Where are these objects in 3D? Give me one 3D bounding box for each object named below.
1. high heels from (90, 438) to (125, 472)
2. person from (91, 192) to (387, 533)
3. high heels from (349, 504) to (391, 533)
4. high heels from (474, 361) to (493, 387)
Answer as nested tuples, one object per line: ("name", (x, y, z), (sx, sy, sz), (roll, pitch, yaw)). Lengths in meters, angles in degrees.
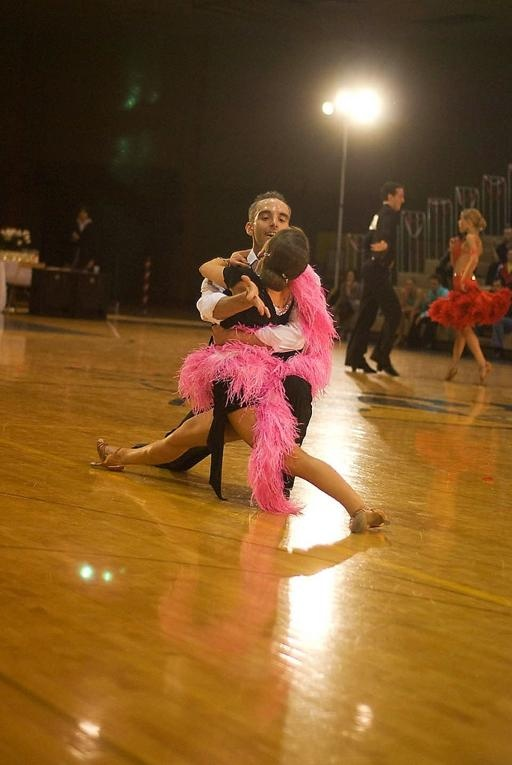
("high heels", (-0.532, 0.244, 2.046), (0.063, 0.103, 0.188), (5, 13, -34))
("person", (-0.269, -0.023, 1.708), (1.038, 0.795, 0.547), (2, 4, 31))
("high heels", (0.300, 0.364, 1.559), (0.095, 0.072, 0.056), (-7, 40, 2))
("high heels", (2.055, -0.071, 5.319), (0.098, 0.251, 0.105), (-16, 40, -26))
